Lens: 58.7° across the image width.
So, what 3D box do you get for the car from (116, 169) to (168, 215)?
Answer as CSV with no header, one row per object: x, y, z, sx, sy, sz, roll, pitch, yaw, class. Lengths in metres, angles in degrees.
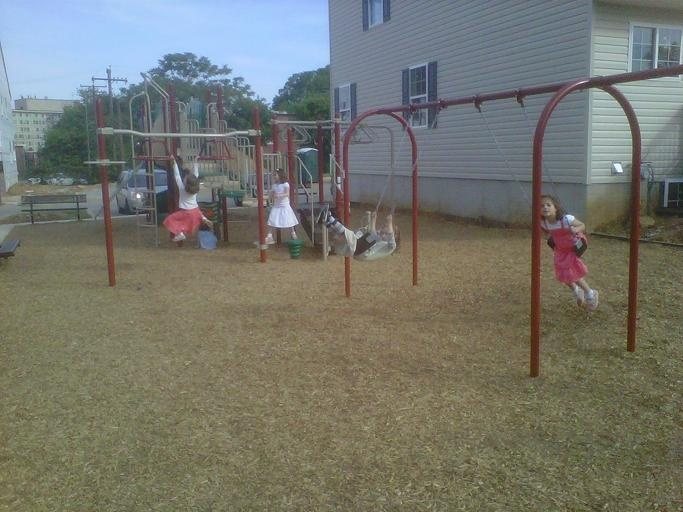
-6.186,-1.960,18.858,1.550,1.853,1.528,-2,13,-19,car

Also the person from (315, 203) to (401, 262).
0.244,-0.289,8.121,0.984,0.774,0.692,-3,11,-8,person

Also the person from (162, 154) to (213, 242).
-3.161,-1.189,12.384,0.874,1.810,0.706,1,4,-35,person

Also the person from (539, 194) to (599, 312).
2.809,-0.067,7.612,0.507,1.626,0.814,0,0,-39,person
